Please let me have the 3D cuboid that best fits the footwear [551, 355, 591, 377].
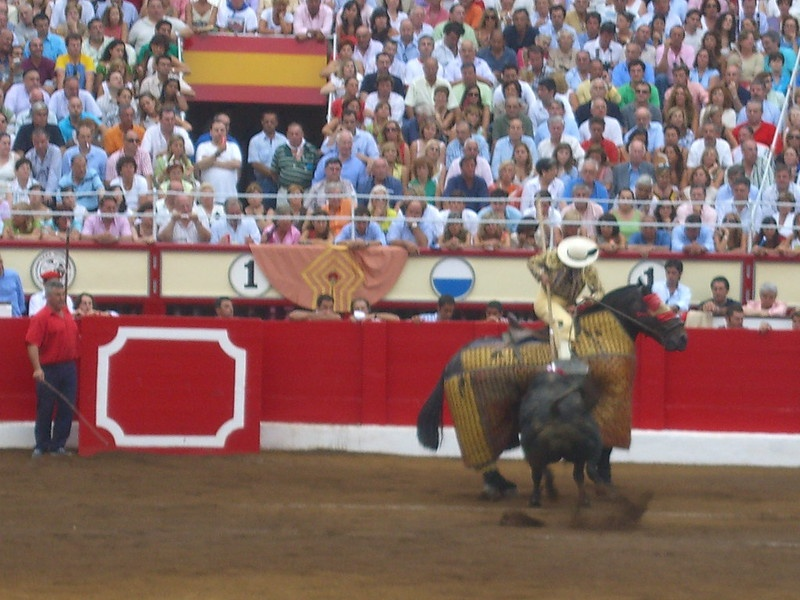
[{"bbox_3d":[2.056,0.803,26.726,0.466,0.212,0.180,1,4,3],"label":"footwear"}]
